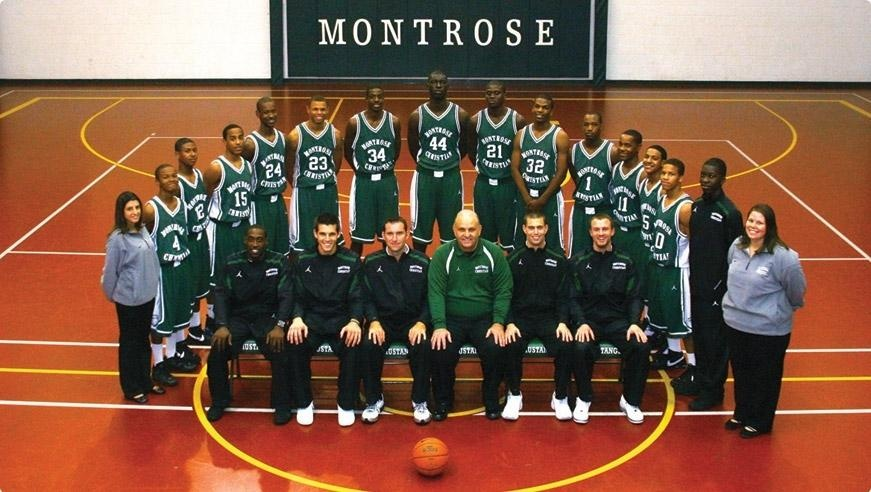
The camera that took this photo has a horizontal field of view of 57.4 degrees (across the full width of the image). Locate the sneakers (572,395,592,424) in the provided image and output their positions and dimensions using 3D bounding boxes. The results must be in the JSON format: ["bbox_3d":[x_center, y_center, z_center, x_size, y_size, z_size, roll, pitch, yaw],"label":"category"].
[{"bbox_3d":[2.099,2.374,11.564,0.241,0.343,0.195,0,17,12],"label":"sneakers"}]

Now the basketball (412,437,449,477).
[{"bbox_3d":[-0.084,2.818,10.883,0.528,0.453,0.481,2,6,-5],"label":"basketball"}]

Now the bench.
[{"bbox_3d":[1.312,1.750,11.973,7.201,0.690,0.107,0,-3,0],"label":"bench"}]

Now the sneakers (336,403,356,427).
[{"bbox_3d":[-1.268,2.437,11.541,0.270,0.255,0.224,-7,16,-13],"label":"sneakers"}]

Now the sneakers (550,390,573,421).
[{"bbox_3d":[1.824,2.354,11.651,0.185,0.183,0.482,-4,13,-8],"label":"sneakers"}]

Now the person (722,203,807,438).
[{"bbox_3d":[4.507,1.067,11.145,1.005,3.237,0.764,1,17,18],"label":"person"}]

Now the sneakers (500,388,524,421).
[{"bbox_3d":[1.109,2.337,11.584,0.204,0.185,0.500,0,11,10],"label":"sneakers"}]

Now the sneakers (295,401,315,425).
[{"bbox_3d":[-1.880,2.417,11.600,0.264,0.256,0.324,-5,16,-6],"label":"sneakers"}]

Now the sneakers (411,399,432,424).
[{"bbox_3d":[-0.187,2.397,11.578,0.263,0.292,0.241,-4,16,-1],"label":"sneakers"}]
